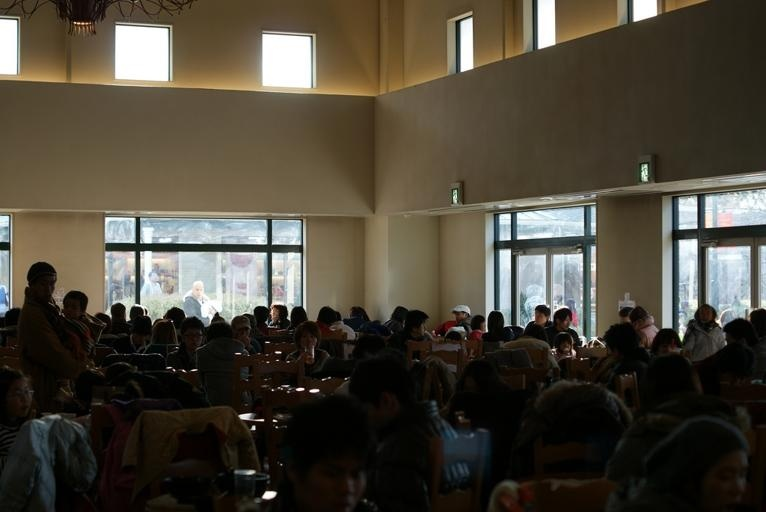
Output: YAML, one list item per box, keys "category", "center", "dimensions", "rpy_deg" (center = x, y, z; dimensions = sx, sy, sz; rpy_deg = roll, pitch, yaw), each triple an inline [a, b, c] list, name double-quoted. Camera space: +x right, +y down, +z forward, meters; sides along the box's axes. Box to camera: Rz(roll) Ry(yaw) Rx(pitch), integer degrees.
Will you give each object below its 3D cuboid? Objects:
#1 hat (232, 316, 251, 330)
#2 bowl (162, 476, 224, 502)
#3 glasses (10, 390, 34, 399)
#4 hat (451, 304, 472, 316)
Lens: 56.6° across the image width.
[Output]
- category: "hat"
  center: [-1.713, 0.797, 8.596]
  dimensions: [0.191, 0.215, 0.244]
  rpy_deg: [-1, 4, -17]
- category: "bowl"
  center: [-1.000, 1.213, 3.712]
  dimensions: [0.254, 0.106, 0.136]
  rpy_deg: [1, 1, 10]
- category: "glasses"
  center: [-2.430, 0.925, 4.765]
  dimensions: [0.088, 0.048, 0.112]
  rpy_deg: [-3, -3, -40]
- category: "hat"
  center: [1.372, 0.909, 12.356]
  dimensions: [0.368, 0.184, 0.260]
  rpy_deg: [25, -28, -39]
